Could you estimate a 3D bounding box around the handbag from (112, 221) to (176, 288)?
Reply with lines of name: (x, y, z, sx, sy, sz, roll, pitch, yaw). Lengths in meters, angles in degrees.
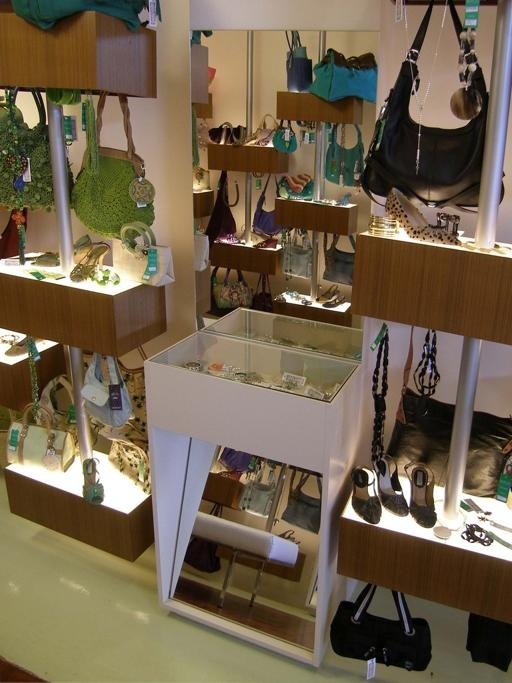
handbag: (-0.408, -0.308, 1.798, 0.182, 0.179, 0.083, 8, 22, 10)

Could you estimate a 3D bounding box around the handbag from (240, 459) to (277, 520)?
handbag: (0.026, 0.506, 1.879, 0.102, 0.237, 0.024, 14, 14, -2)

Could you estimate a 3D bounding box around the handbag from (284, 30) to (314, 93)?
handbag: (0.114, -0.814, 1.537, 0.054, 0.179, 0.073, -20, 22, -41)

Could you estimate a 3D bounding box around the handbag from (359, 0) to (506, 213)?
handbag: (0.380, -0.520, 1.174, 0.271, 0.430, 0.315, 4, 14, 11)

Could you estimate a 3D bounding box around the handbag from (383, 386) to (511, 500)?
handbag: (0.585, 0.305, 1.569, 0.276, 0.232, 0.059, 23, 20, 23)

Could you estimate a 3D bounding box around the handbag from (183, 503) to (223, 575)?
handbag: (-0.199, 0.737, 1.982, 0.151, 0.328, 0.044, 20, 19, 1)

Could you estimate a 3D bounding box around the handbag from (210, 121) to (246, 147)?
handbag: (-0.090, -0.681, 1.710, 0.109, 0.069, 0.047, 12, 19, 39)

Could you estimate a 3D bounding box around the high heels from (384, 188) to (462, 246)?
high heels: (0.396, -0.298, 1.278, 0.074, 0.094, 0.225, -9, 32, -34)

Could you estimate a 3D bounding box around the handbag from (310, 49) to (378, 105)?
handbag: (0.273, -0.763, 1.527, 0.199, 0.151, 0.118, -8, 19, -21)

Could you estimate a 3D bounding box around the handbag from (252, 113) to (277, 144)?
handbag: (0.028, -0.649, 1.613, 0.054, 0.088, 0.029, 9, 11, 23)

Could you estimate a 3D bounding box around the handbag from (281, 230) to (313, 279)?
handbag: (0.142, -0.284, 1.688, 0.087, 0.169, 0.021, 7, 37, 9)

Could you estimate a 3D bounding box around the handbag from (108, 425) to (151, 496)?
handbag: (-0.542, 0.492, 2.222, 0.152, 0.076, 0.214, 5, 30, -16)

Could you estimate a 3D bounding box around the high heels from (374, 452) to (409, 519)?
high heels: (0.403, 0.437, 1.607, 0.053, 0.078, 0.193, -12, 18, 2)

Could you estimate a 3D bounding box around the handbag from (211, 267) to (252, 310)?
handbag: (-0.083, -0.216, 1.891, 0.143, 0.217, 0.069, -4, 53, 3)

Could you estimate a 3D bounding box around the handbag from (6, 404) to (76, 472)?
handbag: (-0.908, 0.416, 2.226, 0.250, 0.271, 0.102, 7, 11, 14)

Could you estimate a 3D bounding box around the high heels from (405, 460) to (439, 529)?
high heels: (0.496, 0.472, 1.594, 0.065, 0.304, 0.049, 2, 47, 16)

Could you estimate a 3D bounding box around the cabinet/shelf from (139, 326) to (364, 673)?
cabinet/shelf: (0.003, 0.525, 1.715, 0.631, 1.196, 0.612, 11, 25, 25)

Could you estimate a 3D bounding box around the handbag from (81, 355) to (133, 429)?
handbag: (-0.554, 0.155, 1.921, 0.209, 0.314, 0.103, 22, 30, 19)

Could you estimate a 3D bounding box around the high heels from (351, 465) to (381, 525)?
high heels: (0.326, 0.453, 1.562, 0.075, 0.053, 0.222, 0, 26, -3)

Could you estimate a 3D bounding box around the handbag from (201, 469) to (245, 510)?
handbag: (-0.122, 0.557, 1.961, 0.131, 0.138, 0.134, 17, -24, -24)

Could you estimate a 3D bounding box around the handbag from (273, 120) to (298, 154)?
handbag: (0.092, -0.628, 1.598, 0.071, 0.128, 0.024, 10, 42, 15)

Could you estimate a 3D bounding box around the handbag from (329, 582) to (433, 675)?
handbag: (0.397, 0.926, 1.679, 0.279, 0.295, 0.148, 11, 32, 10)

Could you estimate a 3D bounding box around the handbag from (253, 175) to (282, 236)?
handbag: (0.038, -0.442, 1.678, 0.087, 0.221, 0.028, 12, 40, 2)

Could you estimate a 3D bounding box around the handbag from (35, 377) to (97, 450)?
handbag: (-0.883, 0.287, 2.385, 0.145, 0.235, 0.311, -6, 25, 23)

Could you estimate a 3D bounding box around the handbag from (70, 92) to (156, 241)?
handbag: (-0.489, -0.576, 1.752, 0.349, 0.464, 0.189, 3, 13, 9)
